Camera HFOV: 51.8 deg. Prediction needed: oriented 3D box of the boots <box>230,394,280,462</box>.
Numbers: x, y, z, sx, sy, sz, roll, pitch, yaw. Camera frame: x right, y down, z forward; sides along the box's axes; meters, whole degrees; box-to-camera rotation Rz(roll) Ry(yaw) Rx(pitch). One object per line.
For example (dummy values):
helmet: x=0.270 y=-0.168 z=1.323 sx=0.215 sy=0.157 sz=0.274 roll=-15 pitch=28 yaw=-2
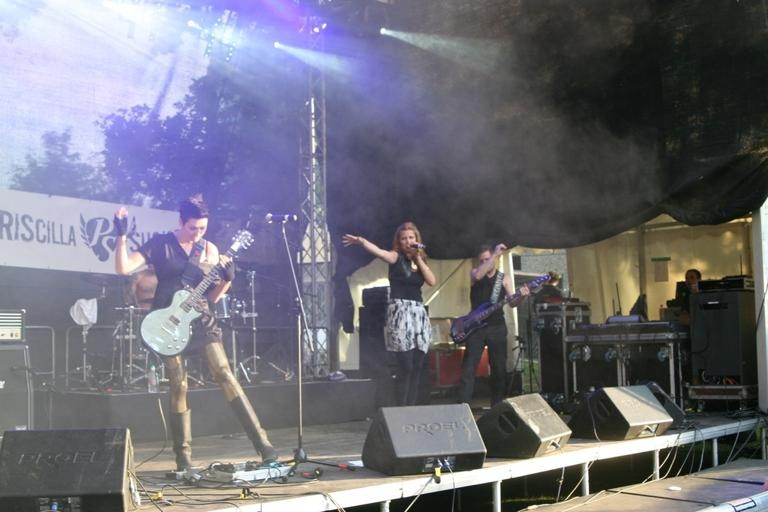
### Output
boots: x=-1.264 y=1.655 z=7.651 sx=0.414 sy=0.642 sz=0.486 roll=-2 pitch=2 yaw=-24

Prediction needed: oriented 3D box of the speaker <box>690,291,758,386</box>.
speaker: x=4.581 y=1.040 z=10.696 sx=0.878 sy=1.219 sz=0.804 roll=1 pitch=8 yaw=5

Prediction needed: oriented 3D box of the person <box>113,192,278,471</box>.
person: x=-1.835 y=0.774 z=7.648 sx=1.246 sy=2.520 sz=0.742 roll=-7 pitch=5 yaw=-22

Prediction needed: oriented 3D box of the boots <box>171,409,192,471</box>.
boots: x=-1.955 y=1.753 z=7.566 sx=0.178 sy=0.551 sz=0.231 roll=-2 pitch=-6 yaw=-18

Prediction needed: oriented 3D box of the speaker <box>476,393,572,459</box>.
speaker: x=1.461 y=1.750 z=8.136 sx=0.836 sy=0.637 sz=0.912 roll=-4 pitch=-5 yaw=8

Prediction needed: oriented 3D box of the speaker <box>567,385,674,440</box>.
speaker: x=2.660 y=1.687 z=8.742 sx=0.944 sy=0.481 sz=0.772 roll=6 pitch=0 yaw=-37

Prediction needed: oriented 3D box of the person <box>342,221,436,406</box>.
person: x=0.112 y=0.713 z=8.824 sx=0.667 sy=2.343 sz=1.311 roll=-11 pitch=-16 yaw=40

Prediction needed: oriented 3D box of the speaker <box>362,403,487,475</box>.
speaker: x=0.410 y=1.685 z=7.323 sx=1.178 sy=0.618 sz=0.666 roll=5 pitch=-11 yaw=-12

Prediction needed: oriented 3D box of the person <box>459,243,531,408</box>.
person: x=1.327 y=0.891 z=9.879 sx=0.783 sy=2.015 sz=0.758 roll=-2 pitch=-5 yaw=0

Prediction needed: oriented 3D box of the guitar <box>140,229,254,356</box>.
guitar: x=-1.995 y=0.386 z=7.818 sx=0.716 sy=1.152 sz=1.081 roll=-2 pitch=-15 yaw=20

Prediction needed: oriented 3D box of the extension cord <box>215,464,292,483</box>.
extension cord: x=-1.217 y=2.008 z=7.287 sx=0.694 sy=0.115 sz=0.137 roll=-3 pitch=-7 yaw=-12
